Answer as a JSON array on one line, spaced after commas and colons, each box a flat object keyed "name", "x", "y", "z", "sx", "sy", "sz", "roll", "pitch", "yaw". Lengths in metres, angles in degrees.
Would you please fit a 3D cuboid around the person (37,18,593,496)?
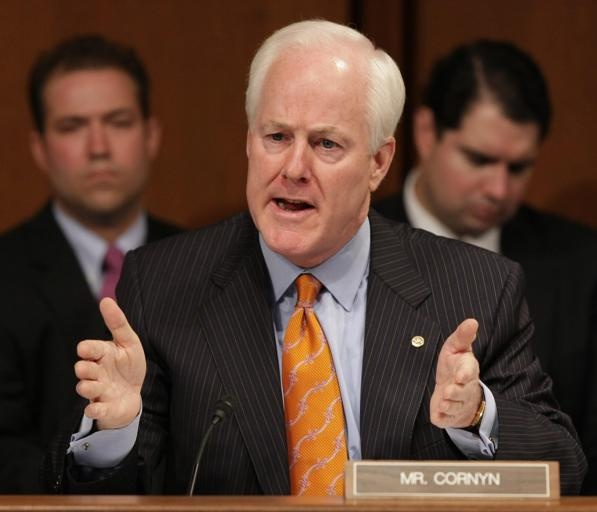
[{"name": "person", "x": 0.039, "y": 0.058, "z": 2.184, "sx": 1.440, "sy": 1.326, "sz": 0.864, "roll": -3, "pitch": 21, "yaw": -5}]

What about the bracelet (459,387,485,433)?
[{"name": "bracelet", "x": 0.475, "y": 0.415, "z": 2.051, "sx": 0.029, "sy": 0.096, "sz": 0.066, "roll": 15, "pitch": -20, "yaw": -31}]
